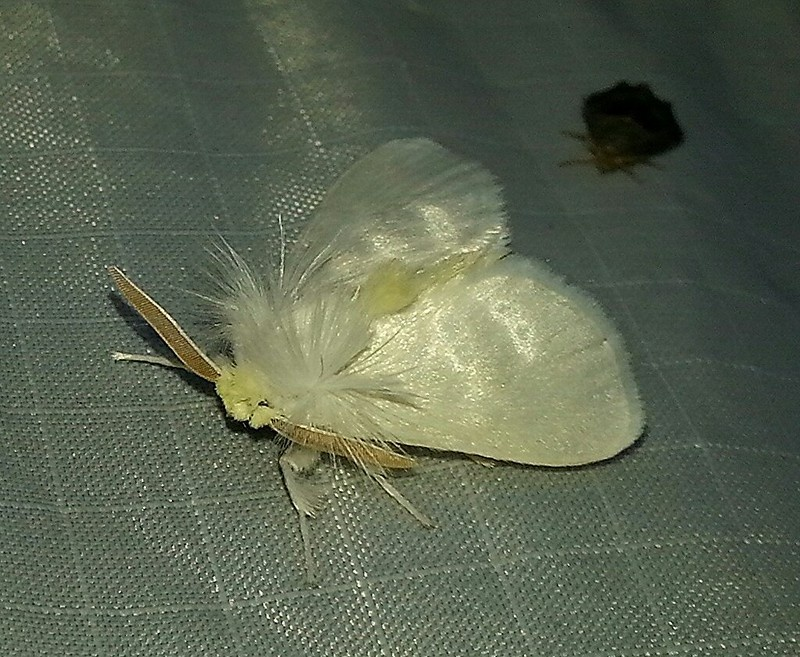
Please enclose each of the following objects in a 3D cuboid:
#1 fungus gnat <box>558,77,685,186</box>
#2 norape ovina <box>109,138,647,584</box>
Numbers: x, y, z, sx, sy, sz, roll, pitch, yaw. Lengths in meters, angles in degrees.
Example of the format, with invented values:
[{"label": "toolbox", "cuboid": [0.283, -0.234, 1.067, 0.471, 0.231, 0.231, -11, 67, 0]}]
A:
[{"label": "fungus gnat", "cuboid": [0.556, -0.500, 2.802, 0.280, 0.063, 0.242, -38, 83, 1]}, {"label": "norape ovina", "cuboid": [0.020, 0.033, 2.598, 0.917, 0.214, 0.965, -32, 72, -19]}]
